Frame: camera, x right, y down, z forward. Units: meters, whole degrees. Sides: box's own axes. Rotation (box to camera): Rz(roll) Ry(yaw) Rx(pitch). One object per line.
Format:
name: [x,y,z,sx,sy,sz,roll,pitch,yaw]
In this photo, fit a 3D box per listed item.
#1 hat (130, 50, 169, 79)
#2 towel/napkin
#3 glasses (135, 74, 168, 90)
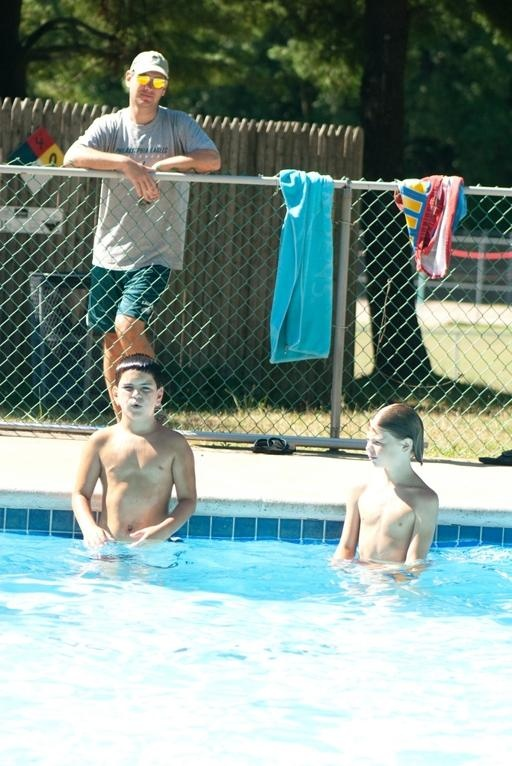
hat: [-0.506,-1.490,5.095,0.134,0.101,0.180,9,2,-12]
towel/napkin: [0.233,-0.568,5.349,0.294,0.910,0.350,3,15,0]
glasses: [-0.469,-1.403,5.078,0.108,0.068,0.209,11,17,28]
